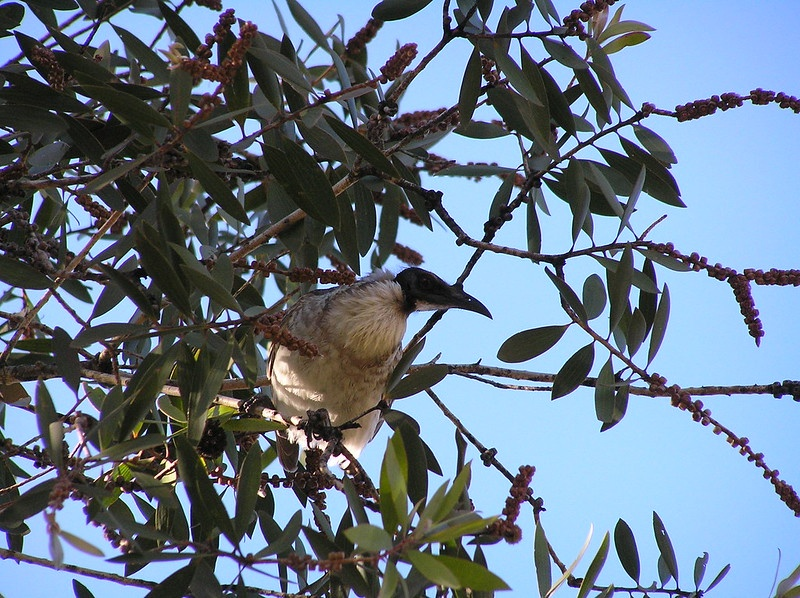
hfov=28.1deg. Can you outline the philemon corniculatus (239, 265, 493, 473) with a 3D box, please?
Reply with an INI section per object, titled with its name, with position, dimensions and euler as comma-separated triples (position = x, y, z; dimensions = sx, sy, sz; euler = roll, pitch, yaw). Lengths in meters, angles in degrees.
[philemon corniculatus]
position = -0.264, 0.195, 8.734
dimensions = 1.340, 1.175, 0.786
euler = -9, -26, 24
